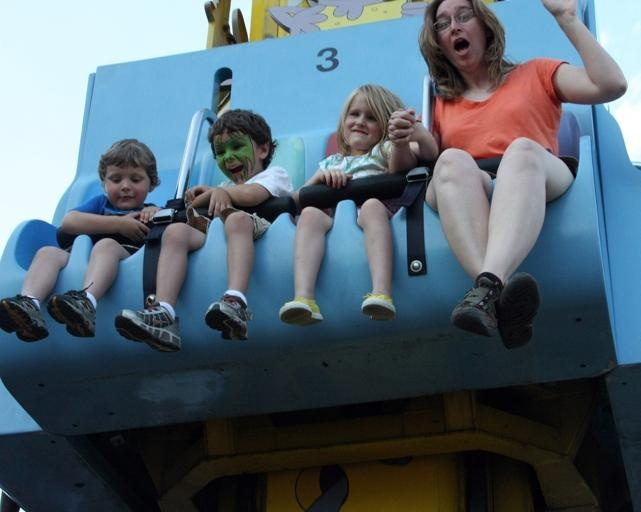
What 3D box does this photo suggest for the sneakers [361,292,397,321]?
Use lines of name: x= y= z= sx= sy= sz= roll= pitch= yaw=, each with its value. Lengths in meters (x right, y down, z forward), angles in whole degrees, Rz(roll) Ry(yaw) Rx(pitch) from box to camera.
sneakers: x=0.181 y=0.162 z=2.141 sx=0.058 sy=0.122 sz=0.053 roll=1 pitch=55 yaw=13

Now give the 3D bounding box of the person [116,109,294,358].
person: x=-0.407 y=-0.163 z=2.711 sx=0.484 sy=0.689 sz=1.325 roll=-7 pitch=17 yaw=6

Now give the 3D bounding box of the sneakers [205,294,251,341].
sneakers: x=-0.303 y=0.202 z=2.249 sx=0.082 sy=0.194 sz=0.099 roll=5 pitch=61 yaw=19

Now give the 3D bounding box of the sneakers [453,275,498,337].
sneakers: x=0.457 y=0.146 z=1.965 sx=0.126 sy=0.153 sz=0.145 roll=0 pitch=19 yaw=29

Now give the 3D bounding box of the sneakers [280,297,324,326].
sneakers: x=-0.066 y=0.198 z=2.194 sx=0.074 sy=0.135 sz=0.066 roll=-35 pitch=58 yaw=21

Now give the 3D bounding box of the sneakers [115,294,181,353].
sneakers: x=-0.577 y=0.243 z=2.246 sx=0.073 sy=0.210 sz=0.225 roll=3 pitch=21 yaw=37

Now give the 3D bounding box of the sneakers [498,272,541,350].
sneakers: x=0.576 y=0.158 z=1.979 sx=0.119 sy=0.265 sz=0.128 roll=-5 pitch=16 yaw=12
